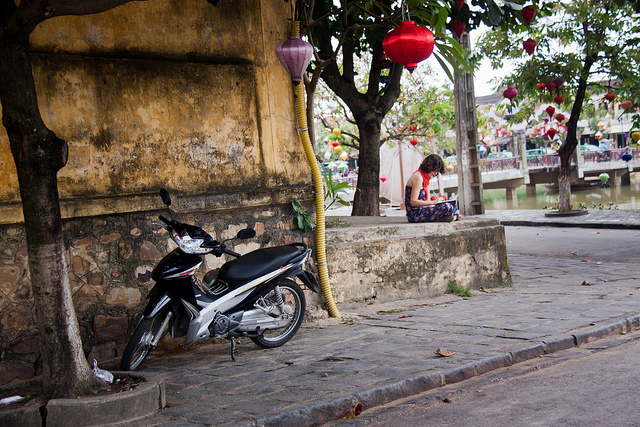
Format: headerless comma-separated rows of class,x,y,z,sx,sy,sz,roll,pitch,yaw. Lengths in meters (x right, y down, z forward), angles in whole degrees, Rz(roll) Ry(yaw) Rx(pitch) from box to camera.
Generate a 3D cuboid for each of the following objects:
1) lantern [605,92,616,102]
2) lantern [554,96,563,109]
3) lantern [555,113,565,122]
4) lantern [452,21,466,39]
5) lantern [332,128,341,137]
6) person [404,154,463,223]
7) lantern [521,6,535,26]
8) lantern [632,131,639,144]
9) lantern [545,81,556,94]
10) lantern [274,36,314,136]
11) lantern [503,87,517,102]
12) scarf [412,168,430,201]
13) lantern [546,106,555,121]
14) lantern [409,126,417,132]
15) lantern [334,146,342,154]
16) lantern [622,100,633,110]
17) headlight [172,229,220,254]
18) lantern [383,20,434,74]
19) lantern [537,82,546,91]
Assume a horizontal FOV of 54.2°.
lantern,9.936,-4.008,21.349,0.301,0.281,0.299,-1,0,-2
lantern,8.076,-3.871,21.190,0.250,0.260,0.447,4,13,25
lantern,9.389,-3.839,24.603,0.338,0.362,0.340,-7,-4,33
lantern,2.629,-3.489,11.865,0.251,0.340,0.250,7,31,38
lantern,0.560,-2.690,20.284,0.252,0.248,0.254,-5,-11,35
person,2.089,-0.464,11.275,1.153,1.245,0.966,-3,4,-9
lantern,3.796,-3.625,11.385,0.258,0.291,0.188,-8,14,-27
lantern,13.341,-3.259,26.421,0.251,0.459,1.177,5,13,26
lantern,7.359,-4.017,19.858,0.316,0.488,0.315,3,20,27
lantern,-0.374,-1.892,9.208,0.542,1.447,0.487,-3,13,-4
lantern,5.726,-3.632,18.897,0.365,0.404,0.362,-1,7,7
scarf,1.869,-0.559,11.344,0.248,0.469,0.337,-3,4,18
lantern,8.255,-3.647,22.273,0.359,0.514,0.373,-4,5,-4
lantern,3.343,-3.087,22.478,0.247,0.192,0.259,-2,6,-7
lantern,0.811,-2.849,27.603,0.325,0.173,0.322,-3,3,-16
lantern,10.170,-3.633,20.718,0.271,0.197,0.273,-6,-4,44
headlight,-1.571,0.315,7.574,0.349,0.128,0.256,25,13,16
lantern,1.280,-2.387,8.996,0.756,0.737,0.736,-7,4,-22
lantern,7.103,-4.070,19.986,0.239,0.223,0.237,-2,4,-9
